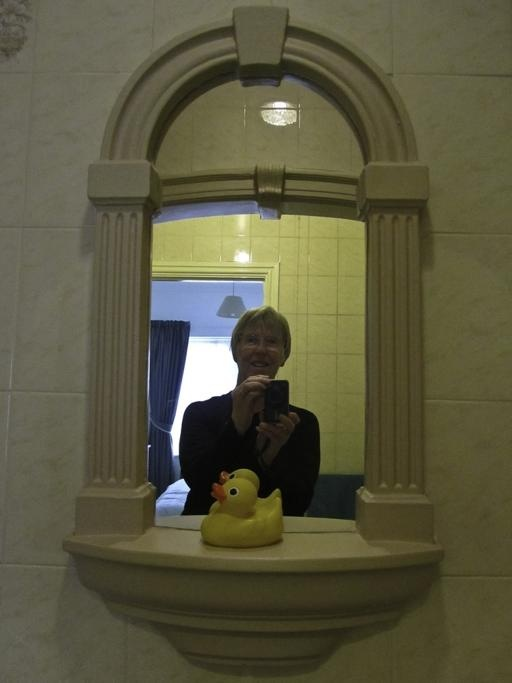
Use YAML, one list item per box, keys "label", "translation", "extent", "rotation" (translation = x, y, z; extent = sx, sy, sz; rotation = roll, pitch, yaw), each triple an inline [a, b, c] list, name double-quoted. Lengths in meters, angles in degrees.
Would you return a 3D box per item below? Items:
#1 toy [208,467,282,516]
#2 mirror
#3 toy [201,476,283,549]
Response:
- label: "toy"
  translation: [-0.019, 0.266, 1.262]
  extent: [0.104, 0.061, 0.079]
  rotation: [12, 37, -20]
- label: "mirror"
  translation: [0.005, 0.073, 1.404]
  extent: [0.576, 0.871, 0.043]
  rotation: [0, -6, -1]
- label: "toy"
  translation: [-0.022, 0.309, 1.330]
  extent: [0.141, 0.129, 0.108]
  rotation: [7, -7, -19]
